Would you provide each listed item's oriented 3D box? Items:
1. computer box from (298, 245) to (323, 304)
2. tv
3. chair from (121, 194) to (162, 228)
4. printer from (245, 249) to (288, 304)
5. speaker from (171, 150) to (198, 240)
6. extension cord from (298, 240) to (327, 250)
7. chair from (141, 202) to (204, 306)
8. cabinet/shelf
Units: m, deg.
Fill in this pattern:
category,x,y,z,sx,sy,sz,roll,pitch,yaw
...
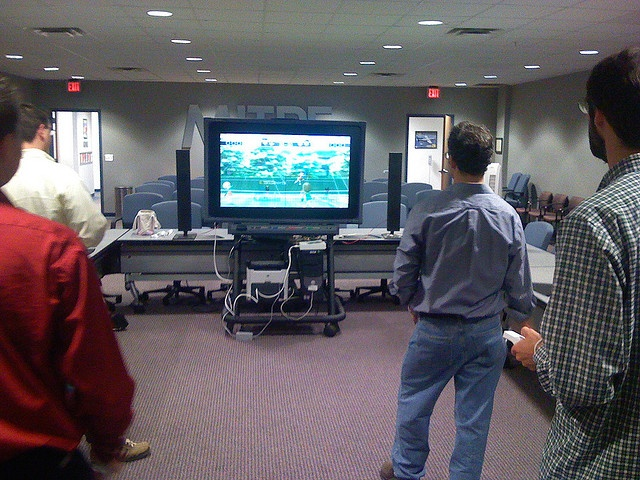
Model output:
category,x,y,z,sx,sy,sz,roll,pitch,yaw
computer box,-0.111,0.297,4.270,0.281,0.459,0.268,1,-5,-39
tv,-0.315,-0.545,4.041,0.942,0.697,0.277,0,5,-2
chair,-2.300,-0.396,6.310,0.416,0.559,0.452,-1,8,-16
printer,-0.449,0.354,4.075,0.333,0.325,0.337,0,0,-3
speaker,-1.294,-0.438,4.566,0.169,0.803,0.464,-3,12,-16
extension cord,-0.069,0.052,4.163,0.229,0.066,0.146,0,12,-3
chair,-1.571,0.117,5.269,0.887,1.299,0.962,0,1,-8
cabinet/shelf,-0.315,0.318,4.453,0.963,0.898,1.020,0,3,-1
